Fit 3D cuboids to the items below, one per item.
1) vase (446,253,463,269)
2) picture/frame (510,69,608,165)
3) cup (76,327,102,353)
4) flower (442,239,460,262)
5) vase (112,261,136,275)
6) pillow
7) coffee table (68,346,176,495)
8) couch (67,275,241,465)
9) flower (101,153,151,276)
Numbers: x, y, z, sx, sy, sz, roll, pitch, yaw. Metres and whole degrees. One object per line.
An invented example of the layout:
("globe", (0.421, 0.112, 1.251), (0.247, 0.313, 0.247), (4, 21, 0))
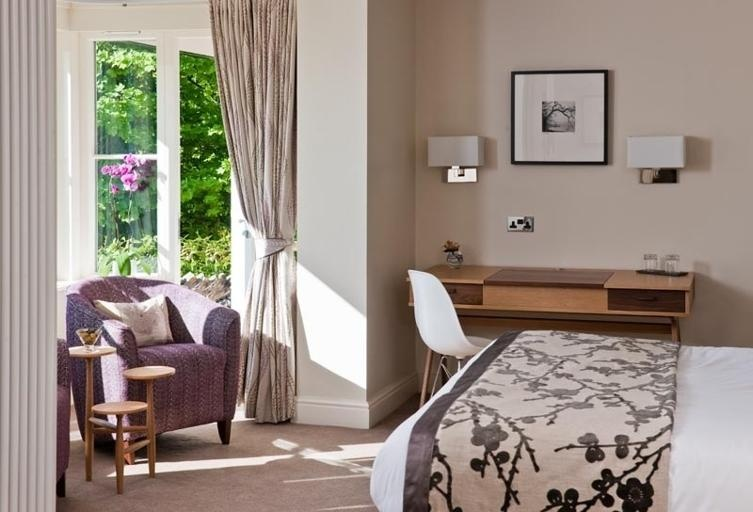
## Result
("vase", (0.600, 0.041, 4.858), (0.115, 0.117, 0.120), (0, -2, 2))
("picture/frame", (1.422, -1.065, 4.808), (0.739, 0.703, 0.050), (1, 4, 14))
("cup", (-1.649, 0.472, 3.646), (0.150, 0.106, 0.145), (-1, -3, 0))
("flower", (0.571, -0.028, 4.890), (0.135, 0.169, 0.168), (-1, -4, -7))
("vase", (-2.045, 0.115, 5.096), (0.135, 0.099, 0.138), (1, 3, 7))
("pillow", (-1.554, 0.421, 4.017), (0.107, 0.212, 0.311), (-24, -14, 35))
("coffee table", (-1.465, 0.927, 3.687), (0.585, 0.672, 0.625), (2, -3, 0))
("couch", (-1.402, 0.669, 4.355), (1.050, 1.285, 1.224), (-5, -4, 40))
("flower", (-1.974, -0.335, 5.091), (0.430, 0.931, 0.268), (-4, 14, -6))
